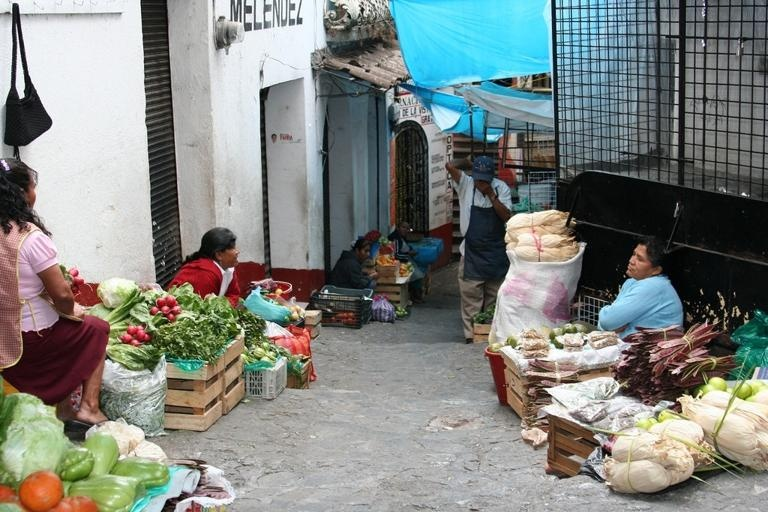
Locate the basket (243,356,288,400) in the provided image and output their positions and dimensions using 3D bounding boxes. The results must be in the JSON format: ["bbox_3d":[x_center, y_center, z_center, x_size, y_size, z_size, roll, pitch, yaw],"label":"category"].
[{"bbox_3d":[-1.305,1.285,6.752,0.357,0.217,0.460,1,5,6],"label":"basket"}]

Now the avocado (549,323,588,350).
[{"bbox_3d":[1.937,0.827,6.577,0.247,0.136,0.315,-1,4,2],"label":"avocado"}]

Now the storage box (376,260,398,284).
[{"bbox_3d":[0.067,0.310,13.261,0.457,0.263,0.440,2,11,8],"label":"storage box"}]

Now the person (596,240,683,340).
[{"bbox_3d":[2.671,0.331,6.503,0.809,1.061,0.336,5,4,22],"label":"person"}]

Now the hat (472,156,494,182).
[{"bbox_3d":[1.649,-1.441,10.464,0.303,0.228,0.455,6,23,5],"label":"hat"}]

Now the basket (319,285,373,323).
[{"bbox_3d":[-0.751,0.904,11.792,0.784,0.454,0.769,1,5,12],"label":"basket"}]

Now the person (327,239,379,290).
[{"bbox_3d":[-0.576,0.121,12.568,0.815,0.923,1.021,5,4,17],"label":"person"}]

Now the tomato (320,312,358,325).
[{"bbox_3d":[-0.809,1.145,11.635,0.357,0.146,0.350,1,2,10],"label":"tomato"}]

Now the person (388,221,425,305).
[{"bbox_3d":[0.542,0.110,14.809,0.890,1.787,1.308,2,4,-18],"label":"person"}]

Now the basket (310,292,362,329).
[{"bbox_3d":[-0.870,0.953,11.640,1.078,0.680,0.601,4,15,6],"label":"basket"}]

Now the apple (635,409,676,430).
[{"bbox_3d":[2.005,1.196,4.642,0.175,0.066,0.171,-13,-1,9],"label":"apple"}]

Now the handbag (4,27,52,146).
[{"bbox_3d":[-3.314,-1.508,5.789,0.207,1.042,0.442,4,4,8],"label":"handbag"}]

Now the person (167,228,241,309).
[{"bbox_3d":[-1.927,0.120,6.881,0.771,0.874,0.523,2,4,-27],"label":"person"}]
